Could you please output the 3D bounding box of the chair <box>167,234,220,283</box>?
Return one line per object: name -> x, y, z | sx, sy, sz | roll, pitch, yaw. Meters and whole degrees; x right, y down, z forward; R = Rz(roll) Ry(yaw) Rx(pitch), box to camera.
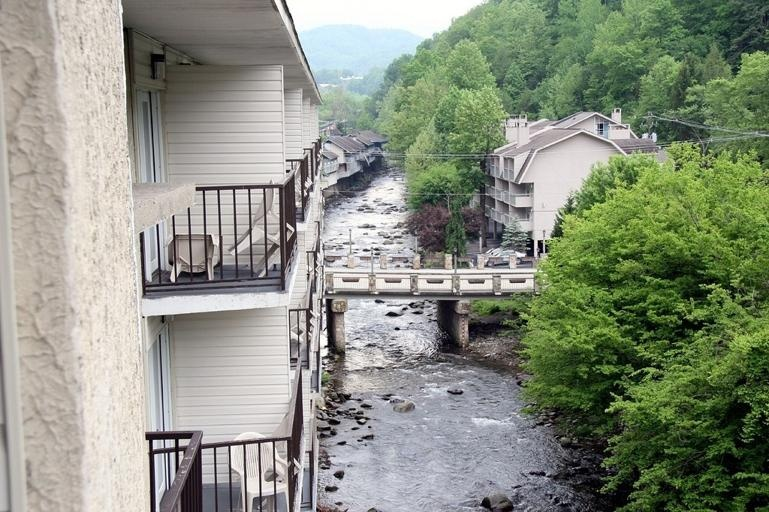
chair -> -2.207, -0.018, 9.754 | 0.627, 0.506, 0.795 | 2, 9, 1
